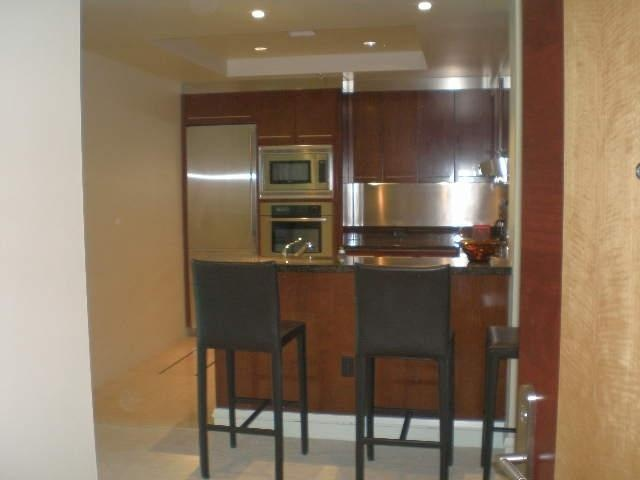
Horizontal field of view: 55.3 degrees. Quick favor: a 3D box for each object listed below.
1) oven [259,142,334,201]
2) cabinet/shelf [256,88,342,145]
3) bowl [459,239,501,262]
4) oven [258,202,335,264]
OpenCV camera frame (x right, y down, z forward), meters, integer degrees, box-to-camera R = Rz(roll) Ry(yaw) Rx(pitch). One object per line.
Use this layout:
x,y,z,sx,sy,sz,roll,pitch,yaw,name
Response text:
-0.192,-0.548,5.000,0.600,0.443,0.333,-1,5,5,oven
-0.144,-0.960,5.023,0.724,0.478,0.388,1,3,12,cabinet/shelf
0.801,0.053,3.089,0.158,0.109,0.189,0,3,-28,bowl
-0.191,-0.029,5.021,0.598,0.464,0.415,0,-15,-1,oven
